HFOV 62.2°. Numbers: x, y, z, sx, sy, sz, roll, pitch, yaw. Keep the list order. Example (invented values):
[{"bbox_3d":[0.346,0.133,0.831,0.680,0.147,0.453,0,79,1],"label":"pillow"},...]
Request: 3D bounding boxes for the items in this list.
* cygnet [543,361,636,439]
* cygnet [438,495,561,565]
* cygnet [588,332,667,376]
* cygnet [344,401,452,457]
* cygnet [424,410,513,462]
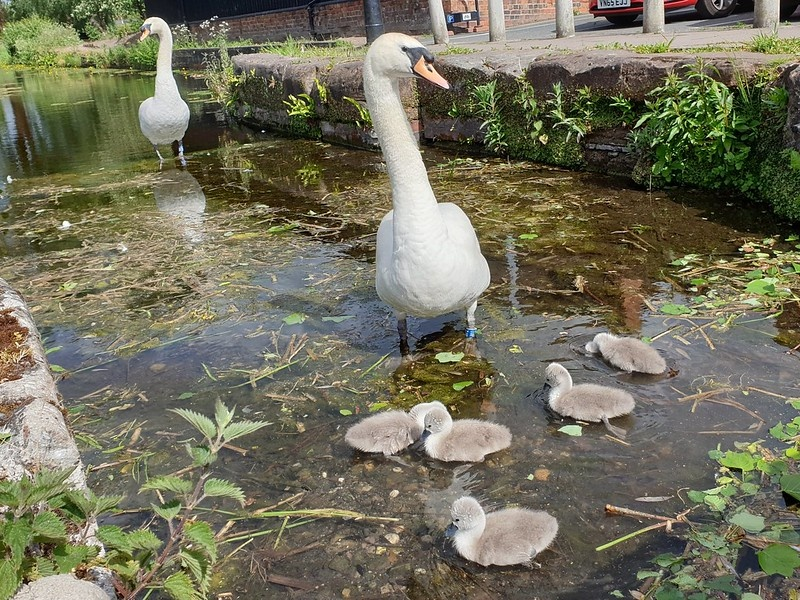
[{"bbox_3d":[1.227,0.619,4.236,0.620,0.304,0.357,4,18,42],"label":"cygnet"},{"bbox_3d":[0.540,1.218,3.463,0.597,0.299,0.322,-8,1,-3],"label":"cygnet"},{"bbox_3d":[1.578,0.377,4.649,0.307,0.193,0.573,-14,20,-43],"label":"cygnet"},{"bbox_3d":[-0.013,0.801,4.148,0.695,0.229,0.308,-12,16,-4],"label":"cygnet"},{"bbox_3d":[0.415,0.822,4.059,0.548,0.252,0.289,-3,12,10],"label":"cygnet"}]
